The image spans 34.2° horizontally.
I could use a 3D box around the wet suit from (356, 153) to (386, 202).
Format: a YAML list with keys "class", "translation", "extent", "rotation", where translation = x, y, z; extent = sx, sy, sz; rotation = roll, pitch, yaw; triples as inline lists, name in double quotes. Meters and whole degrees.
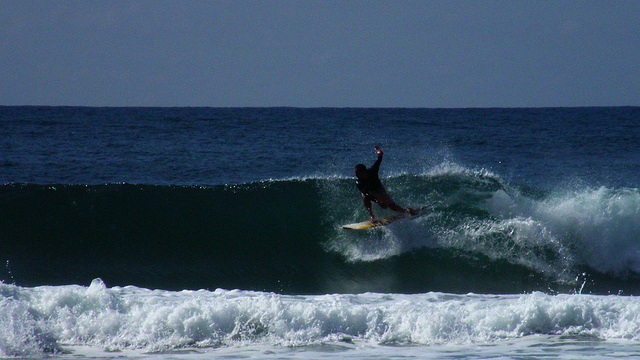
- class: "wet suit"
  translation: [3.014, -0.115, 61.294]
  extent: [1.521, 2.710, 1.054]
  rotation: [-1, -1, 5]

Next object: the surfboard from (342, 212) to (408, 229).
- class: "surfboard"
  translation: [3.452, 2.460, 62.263]
  extent: [3.406, 0.451, 0.173]
  rotation: [-12, -26, -13]
